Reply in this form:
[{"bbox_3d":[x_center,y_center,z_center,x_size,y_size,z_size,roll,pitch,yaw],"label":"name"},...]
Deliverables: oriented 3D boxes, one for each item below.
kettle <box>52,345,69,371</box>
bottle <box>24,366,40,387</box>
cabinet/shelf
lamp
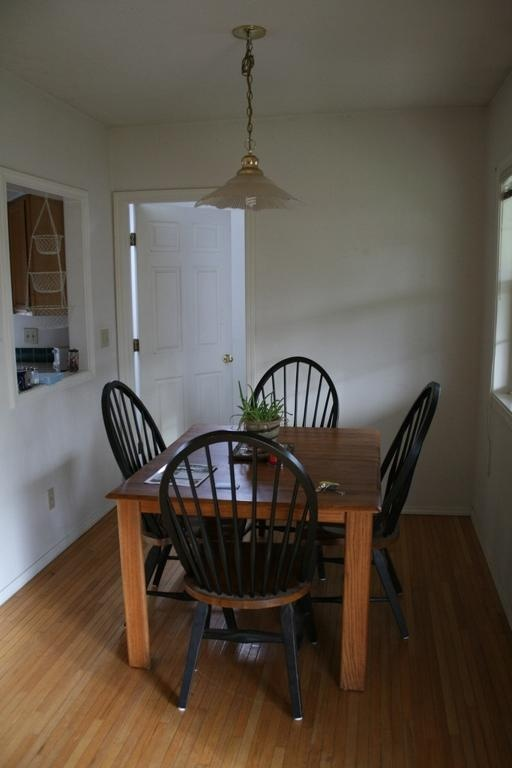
[{"bbox_3d":[-1.173,-0.148,3.125,0.078,0.138,0.180,-3,4,-33],"label":"kettle"},{"bbox_3d":[-1.139,-0.029,2.649,0.030,0.092,0.135,-2,3,-9],"label":"bottle"},{"bbox_3d":[-1.367,-0.824,3.247,0.312,0.824,0.906,-3,4,-25],"label":"cabinet/shelf"},{"bbox_3d":[-0.018,-0.914,1.810,0.310,0.568,0.358,1,11,8],"label":"lamp"}]
